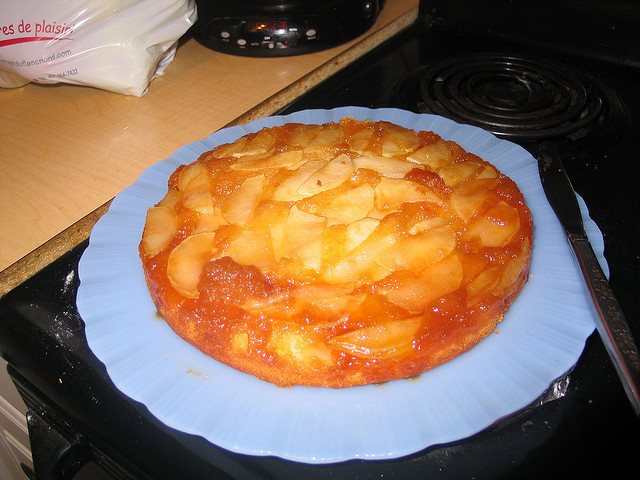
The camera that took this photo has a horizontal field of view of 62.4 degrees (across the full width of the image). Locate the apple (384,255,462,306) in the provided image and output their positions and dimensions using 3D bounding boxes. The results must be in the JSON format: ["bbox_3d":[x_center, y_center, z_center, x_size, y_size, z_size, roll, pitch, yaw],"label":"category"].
[{"bbox_3d":[0.169,0.068,0.816,0.127,0.022,0.038,-25,59,-15],"label":"apple"}]

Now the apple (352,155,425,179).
[{"bbox_3d":[0.112,-0.136,0.900,0.101,0.050,0.023,12,61,-1],"label":"apple"}]

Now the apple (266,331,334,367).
[{"bbox_3d":[-0.028,0.166,0.814,0.106,0.025,0.034,13,58,10],"label":"apple"}]

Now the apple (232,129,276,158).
[{"bbox_3d":[-0.125,-0.186,1.005,0.074,0.016,0.048,7,36,47],"label":"apple"}]

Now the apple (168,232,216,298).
[{"bbox_3d":[-0.200,0.038,0.878,0.086,0.038,0.100,-24,62,10],"label":"apple"}]

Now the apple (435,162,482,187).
[{"bbox_3d":[0.247,-0.117,0.921,0.081,0.019,0.048,-23,44,-18],"label":"apple"}]

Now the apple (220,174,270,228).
[{"bbox_3d":[-0.123,-0.066,0.892,0.056,0.029,0.100,25,49,15],"label":"apple"}]

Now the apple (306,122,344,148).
[{"bbox_3d":[0.015,-0.199,1.004,0.047,0.019,0.066,7,45,19],"label":"apple"}]

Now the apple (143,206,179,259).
[{"bbox_3d":[-0.275,-0.018,0.915,0.086,0.027,0.079,4,96,3],"label":"apple"}]

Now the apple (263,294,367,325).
[{"bbox_3d":[-0.008,0.108,0.808,0.157,0.036,0.035,-3,58,0],"label":"apple"}]

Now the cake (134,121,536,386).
[{"bbox_3d":[0.036,-0.001,0.899,0.639,0.128,0.503,-21,58,-13],"label":"cake"}]
